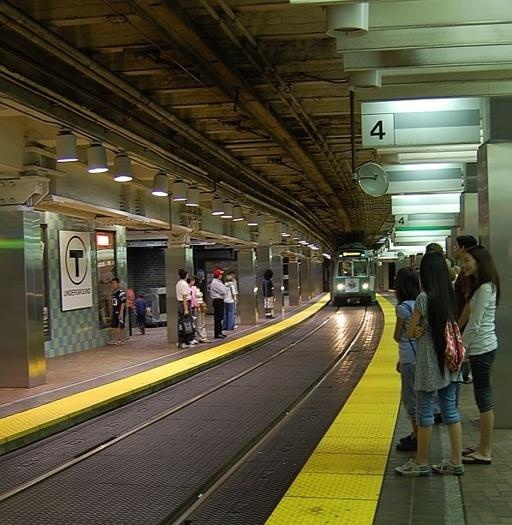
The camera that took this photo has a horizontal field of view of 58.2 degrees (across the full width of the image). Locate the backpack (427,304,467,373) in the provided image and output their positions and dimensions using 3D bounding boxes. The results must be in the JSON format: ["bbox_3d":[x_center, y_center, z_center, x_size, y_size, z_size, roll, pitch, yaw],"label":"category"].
[{"bbox_3d":[1.438,0.596,3.271,0.279,0.384,0.136,-3,0,-36],"label":"backpack"}]

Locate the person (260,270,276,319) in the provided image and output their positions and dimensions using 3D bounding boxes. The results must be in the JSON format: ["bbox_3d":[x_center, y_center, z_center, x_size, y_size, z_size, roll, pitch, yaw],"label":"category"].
[{"bbox_3d":[0.714,1.763,26.111,0.577,2.717,1.125,-3,0,-2],"label":"person"}]

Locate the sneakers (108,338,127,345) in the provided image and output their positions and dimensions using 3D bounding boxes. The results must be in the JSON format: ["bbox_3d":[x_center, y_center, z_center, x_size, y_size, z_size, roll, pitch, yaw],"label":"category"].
[{"bbox_3d":[-4.933,2.780,16.042,0.629,0.194,0.185,9,-4,-27],"label":"sneakers"}]

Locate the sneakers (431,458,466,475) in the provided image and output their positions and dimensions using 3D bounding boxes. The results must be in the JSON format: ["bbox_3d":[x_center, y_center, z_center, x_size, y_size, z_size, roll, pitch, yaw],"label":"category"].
[{"bbox_3d":[1.440,1.505,3.385,0.306,0.096,0.100,-1,-9,20],"label":"sneakers"}]

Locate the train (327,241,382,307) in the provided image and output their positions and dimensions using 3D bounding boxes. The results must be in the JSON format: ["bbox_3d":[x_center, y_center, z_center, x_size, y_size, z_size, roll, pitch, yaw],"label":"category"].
[{"bbox_3d":[7.441,0.916,34.452,2.953,4.222,1.183,-3,0,-2],"label":"train"}]

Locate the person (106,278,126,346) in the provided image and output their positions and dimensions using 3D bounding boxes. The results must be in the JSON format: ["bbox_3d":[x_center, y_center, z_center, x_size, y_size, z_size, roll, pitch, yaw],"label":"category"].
[{"bbox_3d":[-4.988,1.711,16.147,0.683,2.378,1.070,-4,1,-15],"label":"person"}]

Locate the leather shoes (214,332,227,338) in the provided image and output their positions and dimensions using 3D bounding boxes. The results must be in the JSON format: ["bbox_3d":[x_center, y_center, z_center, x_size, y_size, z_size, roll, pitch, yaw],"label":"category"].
[{"bbox_3d":[-1.348,2.712,16.992,0.433,0.134,0.147,-3,-4,27],"label":"leather shoes"}]

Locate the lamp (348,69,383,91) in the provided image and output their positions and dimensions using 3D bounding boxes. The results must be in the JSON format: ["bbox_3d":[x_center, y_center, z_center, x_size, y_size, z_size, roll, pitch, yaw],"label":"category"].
[{"bbox_3d":[1.267,-2.083,5.175,0.363,0.206,0.351,-2,0,0],"label":"lamp"}]

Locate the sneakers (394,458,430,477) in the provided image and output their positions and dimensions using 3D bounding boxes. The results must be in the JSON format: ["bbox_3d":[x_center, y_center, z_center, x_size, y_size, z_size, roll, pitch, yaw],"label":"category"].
[{"bbox_3d":[1.180,1.503,3.397,0.303,0.102,0.102,-2,-1,15],"label":"sneakers"}]

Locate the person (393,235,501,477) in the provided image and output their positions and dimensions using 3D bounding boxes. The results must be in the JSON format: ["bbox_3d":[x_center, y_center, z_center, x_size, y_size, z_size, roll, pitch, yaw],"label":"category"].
[{"bbox_3d":[1.576,0.732,3.622,0.464,1.516,1.243,-3,0,41],"label":"person"}]

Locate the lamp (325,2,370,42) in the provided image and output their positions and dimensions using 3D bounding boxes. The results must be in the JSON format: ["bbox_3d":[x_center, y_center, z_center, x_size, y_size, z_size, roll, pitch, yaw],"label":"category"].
[{"bbox_3d":[0.538,-1.467,2.666,0.250,0.201,0.355,-2,0,11],"label":"lamp"}]
